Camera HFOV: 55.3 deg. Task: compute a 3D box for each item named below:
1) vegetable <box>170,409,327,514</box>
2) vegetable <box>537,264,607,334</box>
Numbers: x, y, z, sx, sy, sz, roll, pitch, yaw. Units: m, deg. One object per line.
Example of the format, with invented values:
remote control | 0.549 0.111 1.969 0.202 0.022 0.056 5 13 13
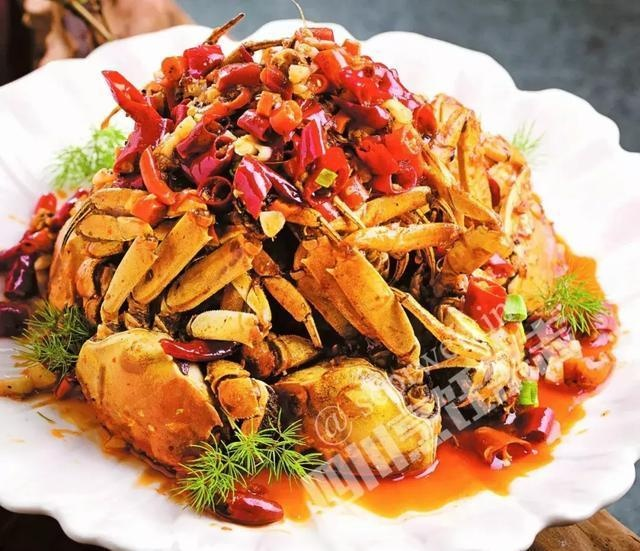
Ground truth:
vegetable | -0.232 0.602 1.993 0.415 0.104 0.281 -23 52 -20
vegetable | 1.052 0.109 2.520 0.306 0.148 0.238 4 57 -7
